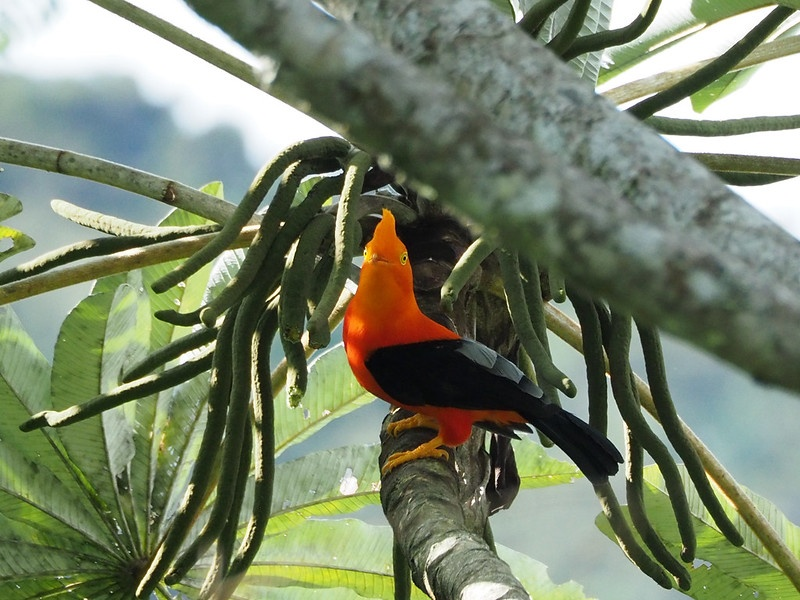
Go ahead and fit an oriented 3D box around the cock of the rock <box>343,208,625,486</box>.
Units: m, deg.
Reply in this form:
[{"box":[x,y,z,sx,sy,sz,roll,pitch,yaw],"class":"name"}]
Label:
[{"box":[0.258,0.154,3.489,0.865,0.364,0.708,5,-80,-1],"class":"cock of the rock"}]
